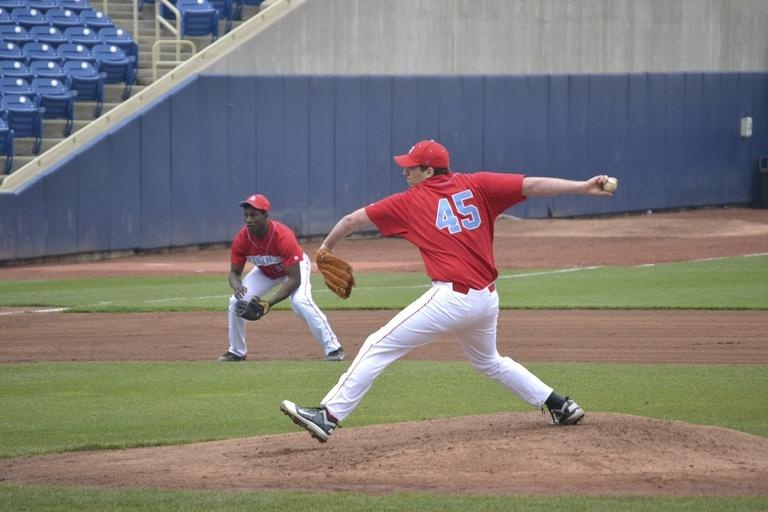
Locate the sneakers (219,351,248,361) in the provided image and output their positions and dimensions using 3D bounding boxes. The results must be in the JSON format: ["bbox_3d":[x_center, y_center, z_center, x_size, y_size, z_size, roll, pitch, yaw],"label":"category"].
[{"bbox_3d":[-2.591,1.721,26.521,0.433,0.148,0.166,5,-1,-3],"label":"sneakers"}]

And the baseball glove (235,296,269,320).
[{"bbox_3d":[-2.241,0.896,26.061,0.536,0.342,0.221,1,43,13],"label":"baseball glove"}]

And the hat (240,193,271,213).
[{"bbox_3d":[-2.207,-0.884,26.415,0.465,0.263,0.642,0,4,0],"label":"hat"}]

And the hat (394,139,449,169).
[{"bbox_3d":[0.578,-1.578,24.207,0.780,0.270,0.441,3,12,1],"label":"hat"}]
